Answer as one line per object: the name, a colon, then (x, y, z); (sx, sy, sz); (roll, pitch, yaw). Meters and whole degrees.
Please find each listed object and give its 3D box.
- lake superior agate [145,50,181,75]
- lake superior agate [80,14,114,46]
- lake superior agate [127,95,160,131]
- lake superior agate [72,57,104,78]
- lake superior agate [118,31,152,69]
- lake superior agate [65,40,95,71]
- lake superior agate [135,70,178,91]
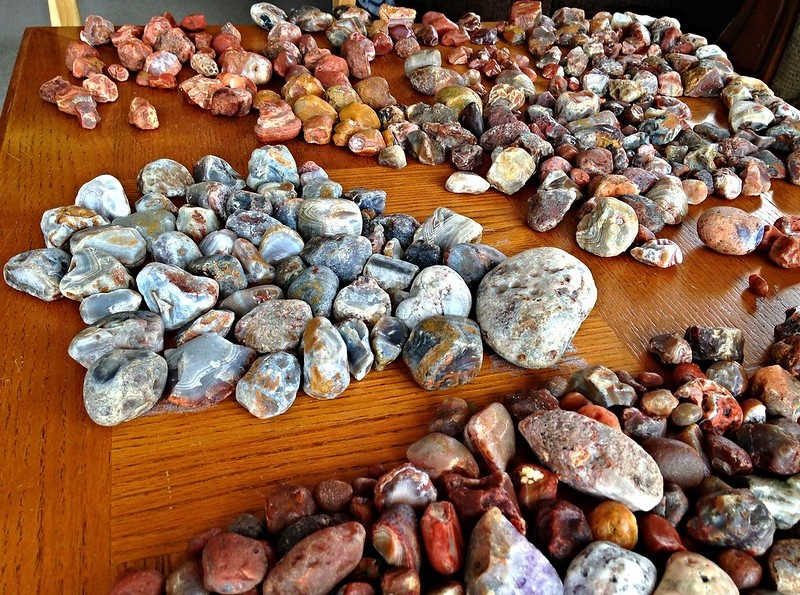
lake superior agate: (-0.782, -0.769, 2.077); (0.088, 0.031, 0.096); (-3, 80, -23)
lake superior agate: (-1.057, -0.933, 2.202); (0.115, 0.082, 0.135); (-15, 54, -22)
lake superior agate: (-0.769, -0.545, 1.887); (0.086, 0.066, 0.105); (-11, 53, -19)
lake superior agate: (-1.012, -0.746, 2.045); (0.082, 0.032, 0.083); (36, 52, 23)
lake superior agate: (-0.882, -0.815, 2.148); (0.099, 0.073, 0.109); (-33, 74, 1)
lake superior agate: (-1.067, -0.803, 2.140); (0.104, 0.033, 0.103); (-24, 72, -21)
lake superior agate: (-0.801, -0.708, 2.047); (0.094, 0.042, 0.063); (8, 29, 17)
